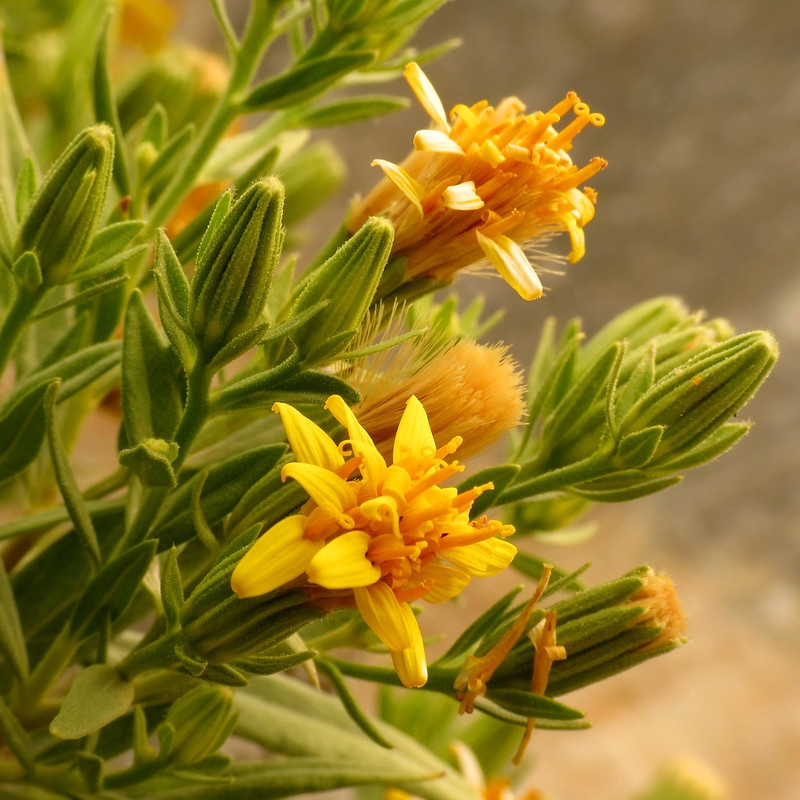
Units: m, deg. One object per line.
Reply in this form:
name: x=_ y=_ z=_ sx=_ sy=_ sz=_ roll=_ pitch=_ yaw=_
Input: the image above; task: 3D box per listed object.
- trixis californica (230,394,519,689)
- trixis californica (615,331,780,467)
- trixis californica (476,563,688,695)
trixis californica: x=-0.004 y=0.069 z=0.530 sx=0.106 sy=0.146 sz=0.182 roll=-24 pitch=-32 yaw=-2
trixis californica: x=0.174 y=0.000 z=0.607 sx=0.136 sy=0.041 sz=0.048 roll=-28 pitch=3 yaw=-21
trixis californica: x=0.097 y=0.130 z=0.604 sx=0.127 sy=0.048 sz=0.051 roll=-22 pitch=-16 yaw=7
